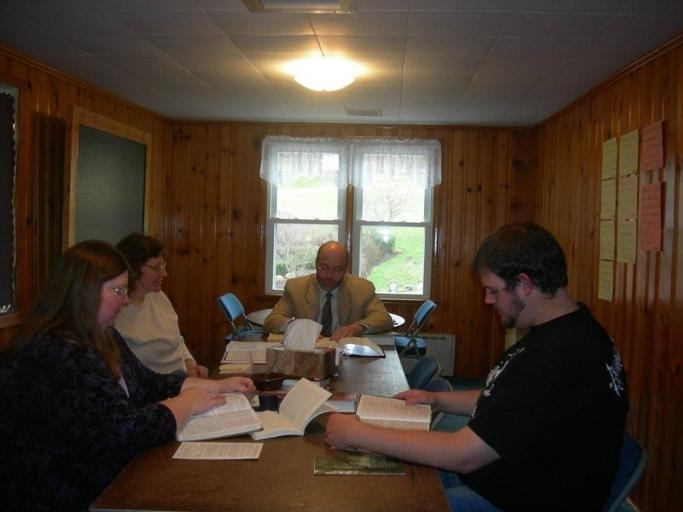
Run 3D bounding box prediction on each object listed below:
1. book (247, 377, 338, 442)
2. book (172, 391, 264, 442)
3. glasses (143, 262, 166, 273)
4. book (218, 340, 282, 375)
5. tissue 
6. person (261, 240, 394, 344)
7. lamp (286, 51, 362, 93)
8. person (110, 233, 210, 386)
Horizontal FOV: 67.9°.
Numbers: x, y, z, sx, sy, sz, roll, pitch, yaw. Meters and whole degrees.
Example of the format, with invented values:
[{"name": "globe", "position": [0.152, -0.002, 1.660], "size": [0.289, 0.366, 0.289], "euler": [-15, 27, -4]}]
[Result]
[{"name": "book", "position": [-0.226, 0.645, 2.113], "size": [0.353, 0.133, 0.265], "euler": [-11, 7, -30]}, {"name": "book", "position": [-0.545, 0.661, 2.164], "size": [0.363, 0.060, 0.477], "euler": [1, 8, -17]}, {"name": "glasses", "position": [-1.099, 0.072, 2.948], "size": [0.098, 0.030, 0.096], "euler": [1, 3, 7]}, {"name": "book", "position": [-0.550, 0.588, 2.922], "size": [0.233, 0.046, 0.333], "euler": [0, 9, -2]}, {"name": "tissue ", "position": [-0.217, 0.505, 2.707], "size": [0.333, 0.300, 0.171], "euler": [3, -1, 18]}, {"name": "person", "position": [-0.065, 0.334, 3.824], "size": [0.941, 1.273, 0.729], "euler": [0, -3, 3]}, {"name": "lamp", "position": [-0.133, -1.377, 3.871], "size": [0.593, 0.176, 0.463], "euler": [3, 8, -1]}, {"name": "person", "position": [-1.173, 0.368, 3.143], "size": [0.526, 0.948, 0.486], "euler": [-5, 11, -21]}]
